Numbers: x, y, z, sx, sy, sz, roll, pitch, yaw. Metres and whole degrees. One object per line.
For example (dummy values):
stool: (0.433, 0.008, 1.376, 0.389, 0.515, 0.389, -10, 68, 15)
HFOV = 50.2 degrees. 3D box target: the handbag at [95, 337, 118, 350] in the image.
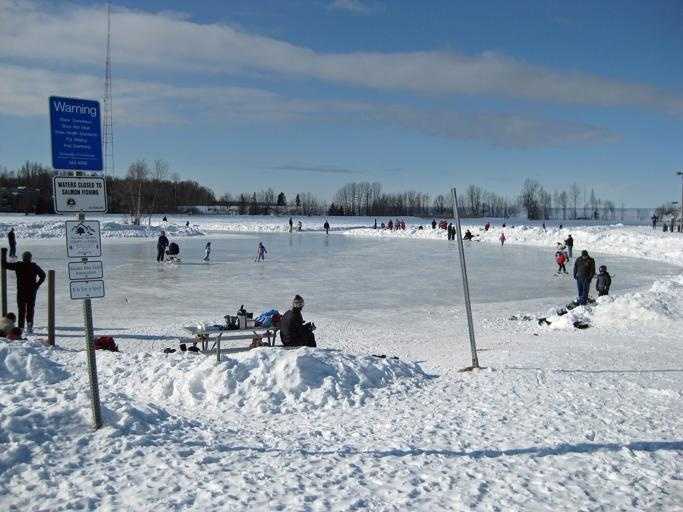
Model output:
handbag: (-4.569, 1.704, 14.163, 0.403, 0.237, 0.323, 2, 9, -2)

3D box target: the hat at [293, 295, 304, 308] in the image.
hat: (-0.799, 0.855, 13.717, 0.226, 0.291, 0.305, 3, 20, 0)

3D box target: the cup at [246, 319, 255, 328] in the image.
cup: (-1.837, 1.373, 14.844, 0.135, 0.221, 0.230, -4, 6, -42)

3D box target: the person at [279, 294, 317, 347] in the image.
person: (-0.801, 1.216, 13.707, 0.632, 0.981, 0.626, -2, 3, -21)
